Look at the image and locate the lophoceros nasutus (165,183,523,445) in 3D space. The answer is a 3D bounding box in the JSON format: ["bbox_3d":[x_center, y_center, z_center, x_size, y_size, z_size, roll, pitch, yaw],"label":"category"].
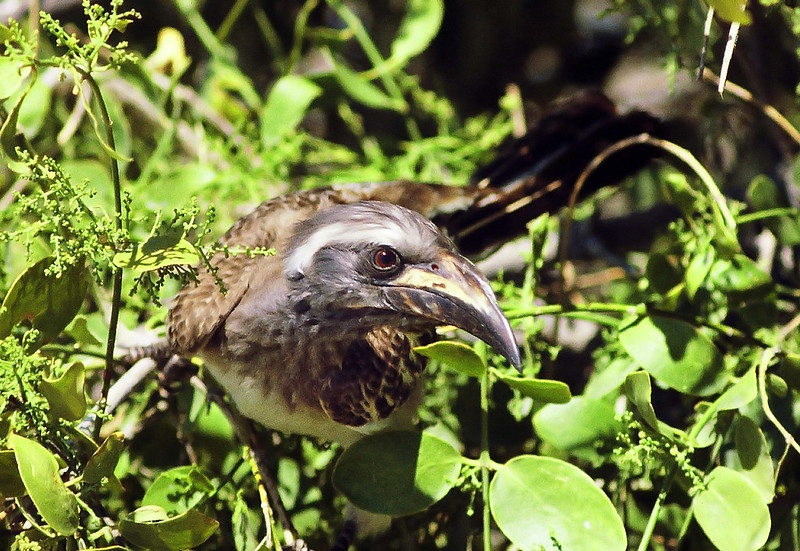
[{"bbox_3d":[-0.113,0.111,2.277,0.538,0.503,0.749,28,39,22],"label":"lophoceros nasutus"}]
